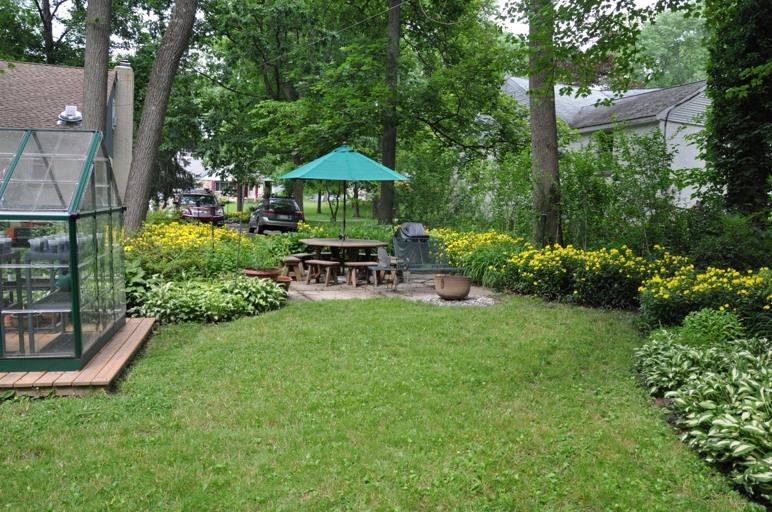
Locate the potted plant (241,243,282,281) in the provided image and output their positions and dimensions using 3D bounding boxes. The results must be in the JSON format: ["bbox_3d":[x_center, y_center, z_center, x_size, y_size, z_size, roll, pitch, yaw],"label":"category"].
[{"bbox_3d":[-2.686,0.197,13.704,0.814,0.626,1.008,1,1,-36],"label":"potted plant"}]

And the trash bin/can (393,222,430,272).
[{"bbox_3d":[0.665,-0.244,15.381,0.984,1.183,1.015,-1,3,-19],"label":"trash bin/can"}]

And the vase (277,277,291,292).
[{"bbox_3d":[-2.151,0.608,13.601,0.272,0.205,0.271,0,4,-32],"label":"vase"}]

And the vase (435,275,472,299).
[{"bbox_3d":[1.422,0.689,13.664,0.553,0.355,0.554,6,-7,-32],"label":"vase"}]
